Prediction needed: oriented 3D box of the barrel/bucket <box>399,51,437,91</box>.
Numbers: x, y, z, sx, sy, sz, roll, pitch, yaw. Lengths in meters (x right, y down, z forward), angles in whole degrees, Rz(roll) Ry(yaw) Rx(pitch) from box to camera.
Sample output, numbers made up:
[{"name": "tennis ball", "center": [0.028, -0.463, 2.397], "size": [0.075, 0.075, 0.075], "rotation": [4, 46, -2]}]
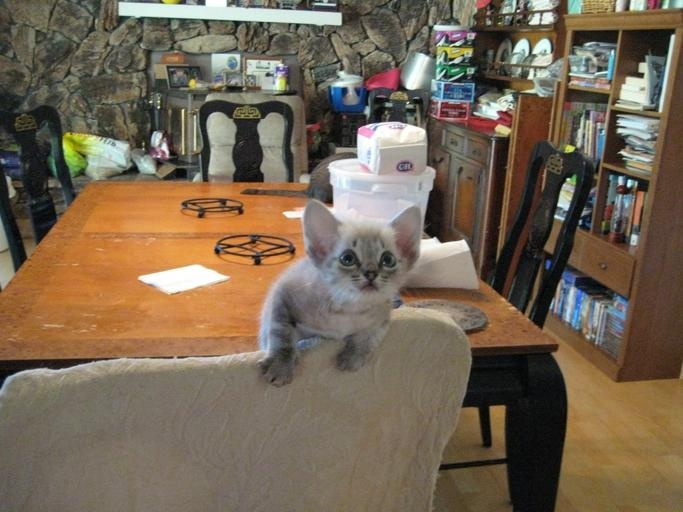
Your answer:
[{"name": "barrel/bucket", "center": [0.712, -1.755, 4.933], "size": [0.217, 0.324, 0.495], "rotation": [-9, 22, -15]}]

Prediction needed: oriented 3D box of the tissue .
[{"name": "tissue ", "center": [0.191, -0.412, 1.974], "size": [0.242, 0.175, 0.240], "rotation": [-4, 22, -4]}]

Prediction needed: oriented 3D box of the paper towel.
[{"name": "paper towel", "center": [0.313, 0.037, 1.629], "size": [0.203, 0.092, 0.194], "rotation": [-1, 16, 0]}]

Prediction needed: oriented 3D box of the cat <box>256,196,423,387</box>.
[{"name": "cat", "center": [-0.024, 0.055, 0.789], "size": [0.178, 0.224, 0.344], "rotation": [10, -7, -12]}]

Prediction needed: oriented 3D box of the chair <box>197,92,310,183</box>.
[{"name": "chair", "center": [-0.597, -0.778, 3.505], "size": [0.703, 0.944, 0.745], "rotation": [-2, 12, -10]}]

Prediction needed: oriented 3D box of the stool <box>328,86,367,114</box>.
[{"name": "stool", "center": [0.055, -1.474, 4.945], "size": [0.484, 0.313, 0.261], "rotation": [-1, 32, -1]}]
